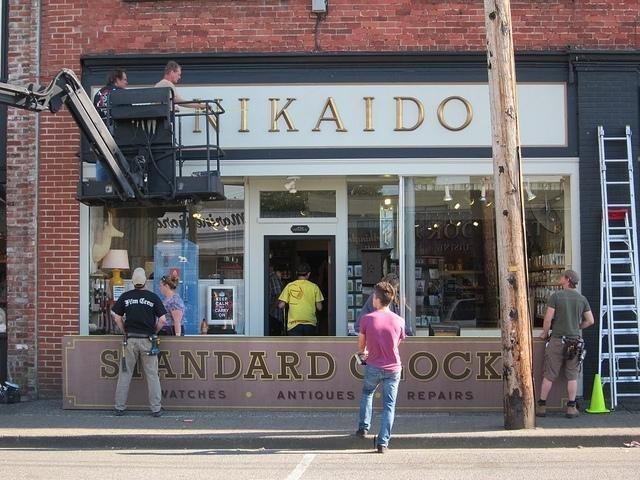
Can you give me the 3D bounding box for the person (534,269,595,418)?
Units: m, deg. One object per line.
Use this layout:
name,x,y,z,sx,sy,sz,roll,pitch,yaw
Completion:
person,4.016,1.607,18.816,0.767,2.430,0.797,0,-2,5

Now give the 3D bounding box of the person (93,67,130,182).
person,-3.549,-1.933,19.383,0.626,1.711,0.494,6,5,-5

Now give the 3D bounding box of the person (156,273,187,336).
person,-2.411,1.087,19.335,0.442,0.975,0.360,13,1,23

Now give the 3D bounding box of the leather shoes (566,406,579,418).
leather shoes,4.040,2.729,18.442,0.194,0.176,0.272,-3,-5,13

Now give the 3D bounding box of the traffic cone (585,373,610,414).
traffic cone,4.581,2.484,18.820,0.535,0.774,0.531,-2,2,8

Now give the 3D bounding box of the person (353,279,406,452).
person,0.868,1.893,17.211,0.723,2.506,0.501,-5,-7,33

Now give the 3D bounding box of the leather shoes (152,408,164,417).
leather shoes,-2.630,2.790,18.692,0.082,0.098,0.230,1,1,6

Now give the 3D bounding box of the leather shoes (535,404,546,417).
leather shoes,3.538,2.721,18.448,0.101,0.200,0.205,3,-3,-28

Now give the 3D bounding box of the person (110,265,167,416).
person,-2.941,1.662,18.893,0.910,2.338,0.735,2,3,-5

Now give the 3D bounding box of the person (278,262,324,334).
person,-0.316,0.921,19.925,0.507,1.377,0.557,0,-2,1

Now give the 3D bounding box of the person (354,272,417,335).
person,0.956,0.987,18.734,0.801,1.212,0.724,0,-2,-4

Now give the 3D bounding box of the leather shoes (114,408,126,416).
leather shoes,-3.251,2.772,18.642,0.140,0.143,0.090,3,-13,-10

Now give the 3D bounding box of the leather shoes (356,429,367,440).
leather shoes,0.628,2.901,17.354,0.163,0.167,0.102,1,-3,3

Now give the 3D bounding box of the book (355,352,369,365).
book,0.630,1.764,17.376,0.179,0.191,0.046,2,3,17
